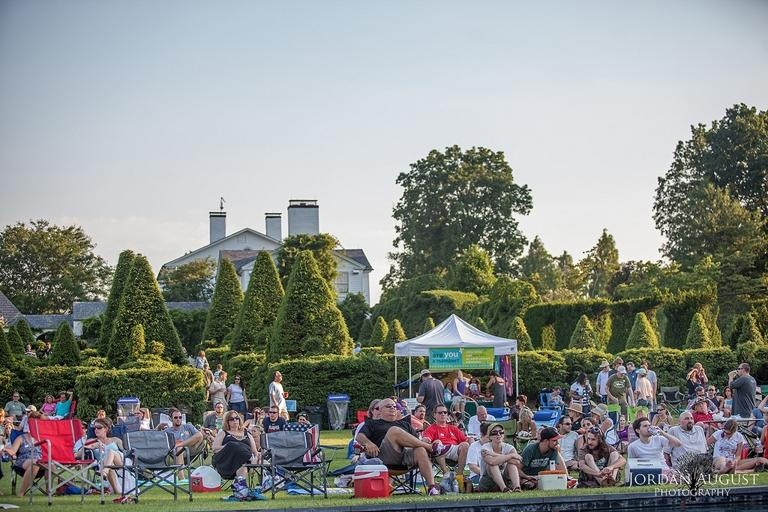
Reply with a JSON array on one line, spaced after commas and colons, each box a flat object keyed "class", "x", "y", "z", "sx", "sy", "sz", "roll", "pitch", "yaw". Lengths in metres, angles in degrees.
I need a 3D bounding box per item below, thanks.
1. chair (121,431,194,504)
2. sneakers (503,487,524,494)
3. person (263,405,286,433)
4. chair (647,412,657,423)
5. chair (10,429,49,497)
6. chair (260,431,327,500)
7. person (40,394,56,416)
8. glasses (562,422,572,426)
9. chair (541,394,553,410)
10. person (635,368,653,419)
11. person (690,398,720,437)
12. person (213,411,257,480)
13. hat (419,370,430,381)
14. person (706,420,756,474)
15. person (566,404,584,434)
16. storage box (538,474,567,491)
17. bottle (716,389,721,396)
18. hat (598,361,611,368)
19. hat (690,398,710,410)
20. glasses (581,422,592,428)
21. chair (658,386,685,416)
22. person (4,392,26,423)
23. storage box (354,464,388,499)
[{"class": "chair", "x": -8.924, "y": 7.890, "z": 64.525, "sx": 2.179, "sy": 2.830, "sz": 2.168, "roll": 1, "pitch": -14, "yaw": -23}, {"class": "sneakers", "x": 4.957, "y": 8.944, "z": 64.336, "sx": 0.690, "sy": 0.210, "sz": 0.248, "roll": -3, "pitch": 6, "yaw": -25}, {"class": "person", "x": -4.492, "y": 6.559, "z": 67.818, "sx": 1.146, "sy": 1.418, "sz": 0.859, "roll": -2, "pitch": -29, "yaw": -4}, {"class": "chair", "x": 11.056, "y": 6.578, "z": 68.979, "sx": 0.324, "sy": 0.589, "sz": 0.607, "roll": 1, "pitch": -1, "yaw": 2}, {"class": "chair", "x": -14.123, "y": 8.028, "z": 65.103, "sx": 1.514, "sy": 2.563, "sz": 0.899, "roll": -11, "pitch": -14, "yaw": 41}, {"class": "chair", "x": -3.512, "y": 7.809, "z": 64.149, "sx": 2.426, "sy": 2.866, "sz": 2.843, "roll": -1, "pitch": -6, "yaw": 1}, {"class": "person", "x": -14.889, "y": 6.499, "z": 73.636, "sx": 0.784, "sy": 1.064, "sz": 0.590, "roll": 2, "pitch": -7, "yaw": -14}, {"class": "glasses", "x": 7.192, "y": 6.533, "z": 65.892, "sx": 0.316, "sy": 0.118, "sz": 0.124, "roll": 0, "pitch": -10, "yaw": -11}, {"class": "chair", "x": 7.485, "y": 6.445, "z": 75.630, "sx": 0.622, "sy": 0.914, "sz": 0.498, "roll": 0, "pitch": -8, "yaw": -2}, {"class": "person", "x": 11.634, "y": 6.023, "z": 74.069, "sx": 1.013, "sy": 2.657, "sz": 0.752, "roll": -6, "pitch": 20, "yaw": 3}, {"class": "person", "x": 12.868, "y": 6.604, "z": 67.540, "sx": 0.825, "sy": 1.888, "sz": 0.941, "roll": -5, "pitch": -16, "yaw": 13}, {"class": "person", "x": -6.000, "y": 7.307, "z": 65.402, "sx": 1.512, "sy": 2.719, "sz": 0.751, "roll": -1, "pitch": -10, "yaw": -4}, {"class": "hat", "x": 1.709, "y": 4.993, "z": 71.301, "sx": 0.400, "sy": 0.458, "sz": 0.450, "roll": 3, "pitch": 2, "yaw": -4}, {"class": "person", "x": 13.664, "y": 7.438, "z": 65.947, "sx": 1.578, "sy": 2.147, "sz": 0.854, "roll": -2, "pitch": -10, "yaw": 1}, {"class": "person", "x": 7.703, "y": 6.372, "z": 67.537, "sx": 0.934, "sy": 1.365, "sz": 0.845, "roll": -4, "pitch": -16, "yaw": 21}, {"class": "storage box", "x": 6.493, "y": 8.654, "z": 64.459, "sx": 0.728, "sy": 0.457, "sz": 0.714, "roll": 2, "pitch": -5, "yaw": -27}, {"class": "bottle", "x": 16.294, "y": 6.484, "z": 80.968, "sx": 0.309, "sy": 0.225, "sz": 0.300, "roll": 0, "pitch": -3, "yaw": 0}, {"class": "hat", "x": 10.067, "y": 4.827, "z": 76.427, "sx": 0.609, "sy": 0.276, "sz": 0.715, "roll": 1, "pitch": 4, "yaw": 19}, {"class": "hat", "x": 12.913, "y": 5.880, "z": 68.180, "sx": 0.616, "sy": 0.300, "sz": 0.760, "roll": 3, "pitch": -6, "yaw": 35}, {"class": "glasses", "x": 8.049, "y": 6.618, "z": 66.337, "sx": 0.224, "sy": 0.155, "sz": 0.291, "roll": -2, "pitch": -15, "yaw": 9}, {"class": "chair", "x": 13.159, "y": 6.567, "z": 76.513, "sx": 1.252, "sy": 1.785, "sz": 1.287, "roll": 1, "pitch": -14, "yaw": 0}, {"class": "person", "x": -16.156, "y": 6.509, "z": 72.584, "sx": 0.996, "sy": 1.456, "sz": 0.867, "roll": 1, "pitch": -19, "yaw": -24}, {"class": "storage box", "x": -0.473, "y": 8.594, "z": 64.047, "sx": 1.258, "sy": 1.069, "sz": 1.256, "roll": 0, "pitch": -5, "yaw": -3}]
